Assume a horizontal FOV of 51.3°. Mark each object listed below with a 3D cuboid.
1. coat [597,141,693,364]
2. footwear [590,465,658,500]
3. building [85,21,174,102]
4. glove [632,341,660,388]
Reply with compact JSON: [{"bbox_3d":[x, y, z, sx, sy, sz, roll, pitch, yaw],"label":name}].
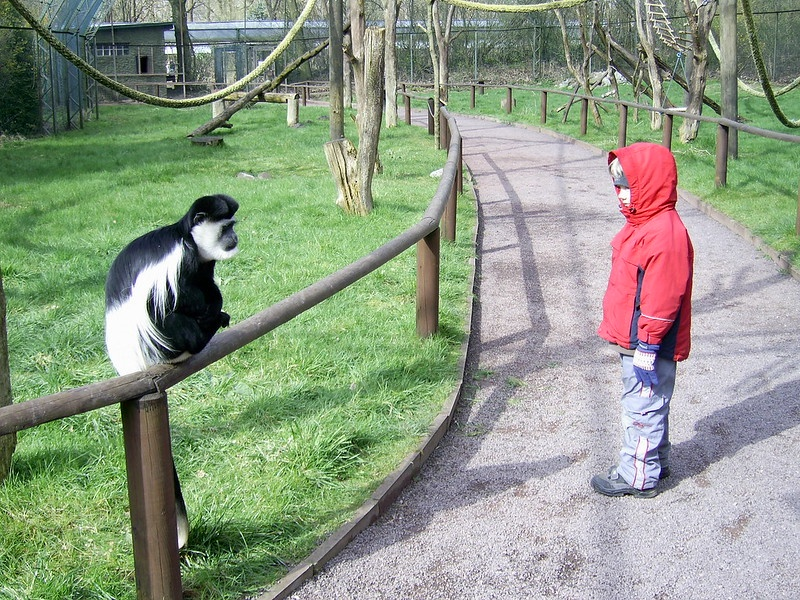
[{"bbox_3d":[1.452,-0.280,4.922,0.529,1.279,0.464,1,9,17],"label":"coat"},{"bbox_3d":[1.371,1.091,5.085,0.370,0.200,0.163,8,11,17],"label":"footwear"},{"bbox_3d":[-11.236,-10.098,34.911,2.849,3.450,3.787,-5,10,-17],"label":"building"},{"bbox_3d":[1.444,0.366,4.875,0.139,0.293,0.187,1,9,16],"label":"glove"}]
